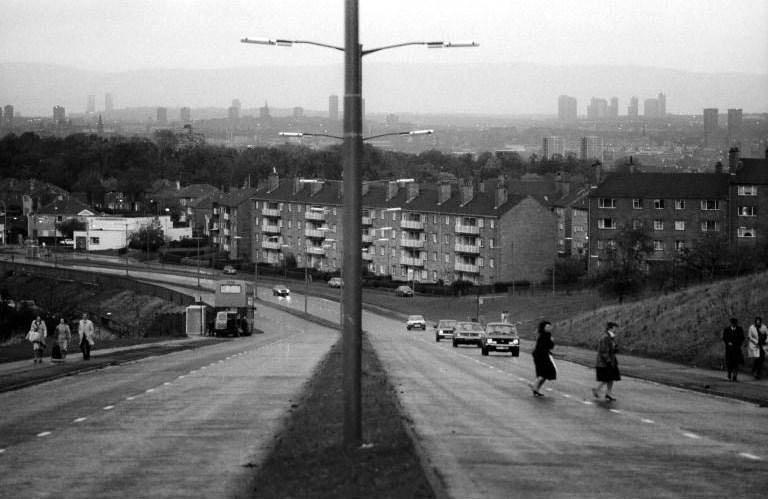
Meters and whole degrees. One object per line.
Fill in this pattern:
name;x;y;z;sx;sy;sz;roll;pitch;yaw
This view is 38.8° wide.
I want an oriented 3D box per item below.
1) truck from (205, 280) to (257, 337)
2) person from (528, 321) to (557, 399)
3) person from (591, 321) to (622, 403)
truck;-12.824;5.174;92.394;2.492;3.200;6.487;0;-3;-1
person;5.942;4.159;40.911;1.022;2.728;1.118;1;-2;20
person;8.213;4.168;40.013;1.160;2.665;0.993;4;-8;-42
